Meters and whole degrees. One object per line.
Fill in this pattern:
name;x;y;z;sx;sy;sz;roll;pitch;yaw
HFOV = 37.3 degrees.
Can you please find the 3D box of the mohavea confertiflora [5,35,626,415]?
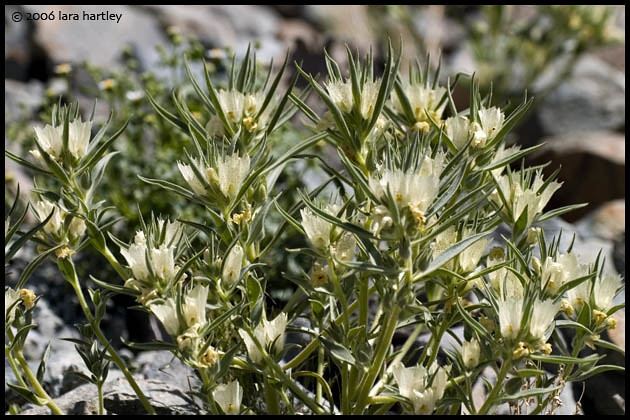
mohavea confertiflora;-0.079;0.251;3.488;1.691;1.572;1.542;10;3;-31
